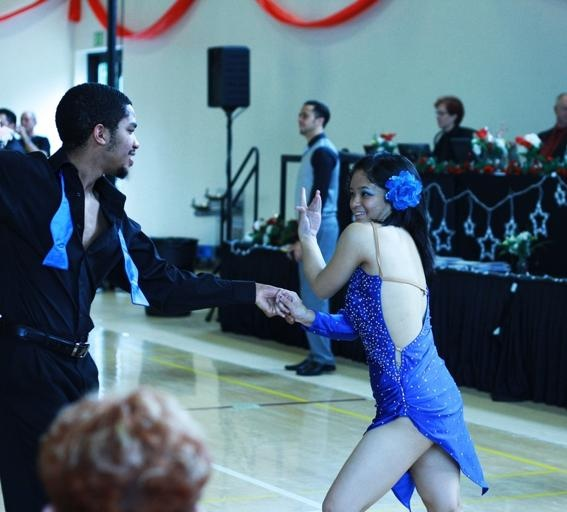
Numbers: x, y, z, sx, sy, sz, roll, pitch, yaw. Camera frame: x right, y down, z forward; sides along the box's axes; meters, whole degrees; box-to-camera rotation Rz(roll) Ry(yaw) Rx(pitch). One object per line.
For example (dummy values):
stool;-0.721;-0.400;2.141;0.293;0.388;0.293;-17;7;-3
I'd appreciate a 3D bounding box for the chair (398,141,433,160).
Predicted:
chair;1.243;-0.967;6.702;0.201;0.190;0.313;-1;-3;19

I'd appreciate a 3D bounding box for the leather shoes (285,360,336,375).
leather shoes;0.208;0.861;5.456;0.239;0.106;0.168;5;-6;-1
